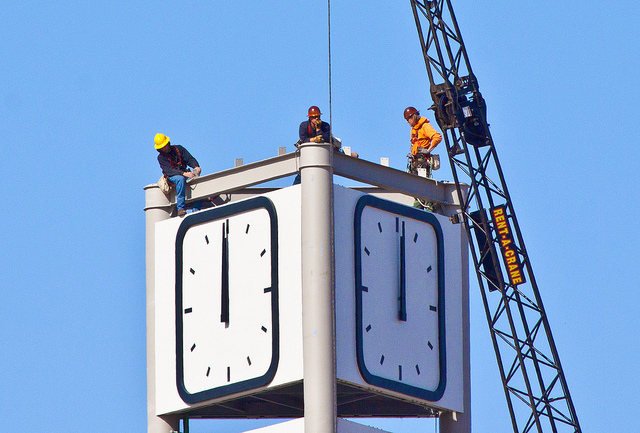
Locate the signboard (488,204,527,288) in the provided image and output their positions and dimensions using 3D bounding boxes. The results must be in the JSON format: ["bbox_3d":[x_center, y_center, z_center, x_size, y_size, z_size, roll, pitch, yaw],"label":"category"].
[{"bbox_3d":[6.538,0.998,50.584,0.683,2.557,1.599,-14,-37,18],"label":"signboard"}]
